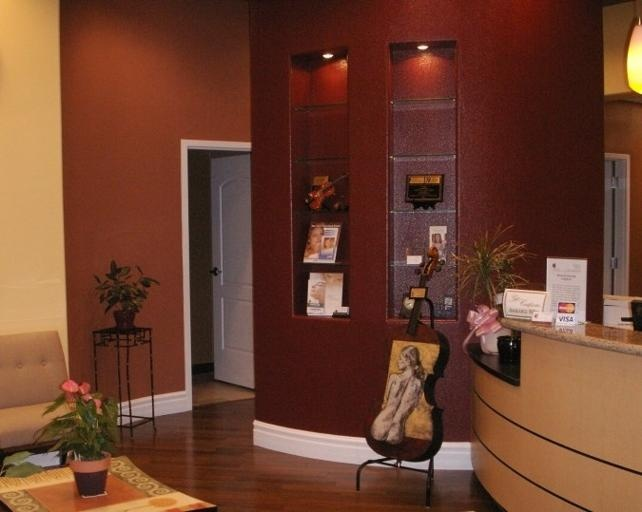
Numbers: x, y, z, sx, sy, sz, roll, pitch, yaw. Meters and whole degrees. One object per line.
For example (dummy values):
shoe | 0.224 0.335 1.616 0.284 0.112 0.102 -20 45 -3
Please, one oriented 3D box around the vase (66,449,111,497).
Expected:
vase | -1.090 1.041 2.804 0.198 0.200 0.197 -1 3 -14

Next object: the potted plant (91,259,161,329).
potted plant | -1.807 0.369 5.729 0.630 0.677 0.640 -4 -6 43

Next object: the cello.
cello | 0.605 0.711 4.122 0.562 1.349 0.301 0 2 12

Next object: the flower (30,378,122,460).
flower | -1.131 0.781 2.826 0.291 0.364 0.341 -4 5 3

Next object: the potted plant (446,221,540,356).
potted plant | 1.270 0.216 4.435 0.772 1.311 0.737 0 3 1
